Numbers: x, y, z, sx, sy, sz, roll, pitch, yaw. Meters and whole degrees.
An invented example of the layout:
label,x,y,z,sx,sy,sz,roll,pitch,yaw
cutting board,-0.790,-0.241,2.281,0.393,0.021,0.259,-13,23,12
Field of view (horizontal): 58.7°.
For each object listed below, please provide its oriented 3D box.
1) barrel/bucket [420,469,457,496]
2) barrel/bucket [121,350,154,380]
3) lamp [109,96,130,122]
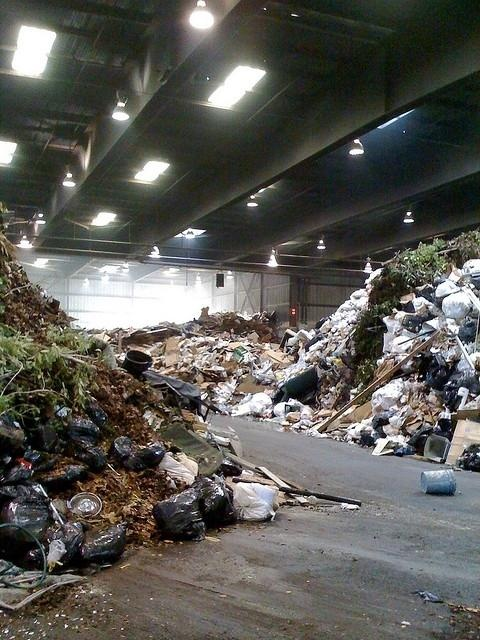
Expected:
label,x,y,z,sx,sy,sz,roll,pitch,yaw
barrel/bucket,1.721,1.418,3.710,0.270,0.193,0.215,-1,-3,19
barrel/bucket,-1.008,0.410,4.117,0.253,0.213,0.305,33,27,21
lamp,-1.995,-3.585,7.332,0.394,0.313,0.358,1,-2,3
